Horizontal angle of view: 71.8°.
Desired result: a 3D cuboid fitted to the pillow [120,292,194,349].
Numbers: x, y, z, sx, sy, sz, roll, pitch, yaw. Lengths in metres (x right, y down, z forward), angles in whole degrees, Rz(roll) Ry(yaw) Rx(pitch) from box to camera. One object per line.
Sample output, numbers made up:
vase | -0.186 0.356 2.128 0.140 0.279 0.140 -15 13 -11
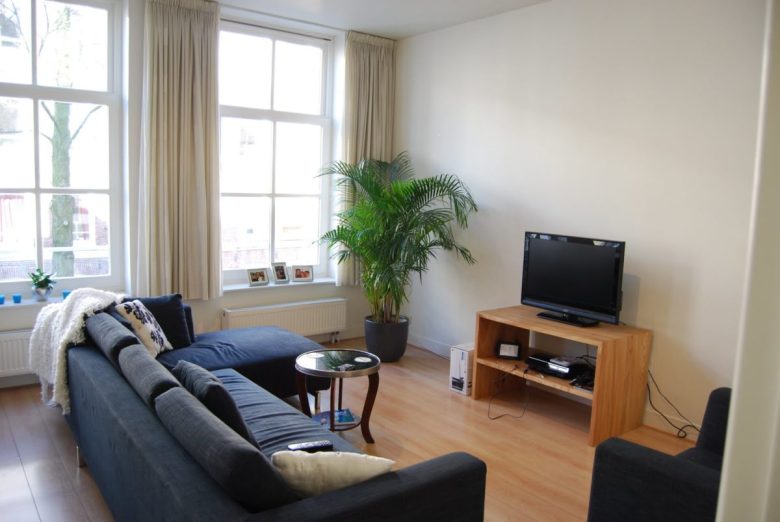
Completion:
pillow | -1.921 0.540 4.518 0.175 0.442 0.442 -31 -11 32

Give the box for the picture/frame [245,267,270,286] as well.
picture/frame | -1.450 0.176 5.806 0.208 0.178 0.021 1 -14 -41

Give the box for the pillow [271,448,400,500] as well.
pillow | -0.285 0.928 2.392 0.288 0.093 0.298 5 -5 -34

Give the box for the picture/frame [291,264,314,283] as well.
picture/frame | -1.008 0.154 6.062 0.200 0.169 0.020 8 -20 -29

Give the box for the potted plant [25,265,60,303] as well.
potted plant | -3.104 0.217 4.749 0.265 0.275 0.267 2 -3 -39

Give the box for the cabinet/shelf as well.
cabinet/shelf | 1.416 0.929 4.641 0.701 0.852 1.245 -4 9 -36

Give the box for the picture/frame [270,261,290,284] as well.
picture/frame | -1.238 0.140 5.956 0.230 0.287 0.055 -3 -20 -45

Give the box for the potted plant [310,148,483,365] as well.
potted plant | -0.041 0.007 6.170 2.072 2.314 1.965 1 2 -9
